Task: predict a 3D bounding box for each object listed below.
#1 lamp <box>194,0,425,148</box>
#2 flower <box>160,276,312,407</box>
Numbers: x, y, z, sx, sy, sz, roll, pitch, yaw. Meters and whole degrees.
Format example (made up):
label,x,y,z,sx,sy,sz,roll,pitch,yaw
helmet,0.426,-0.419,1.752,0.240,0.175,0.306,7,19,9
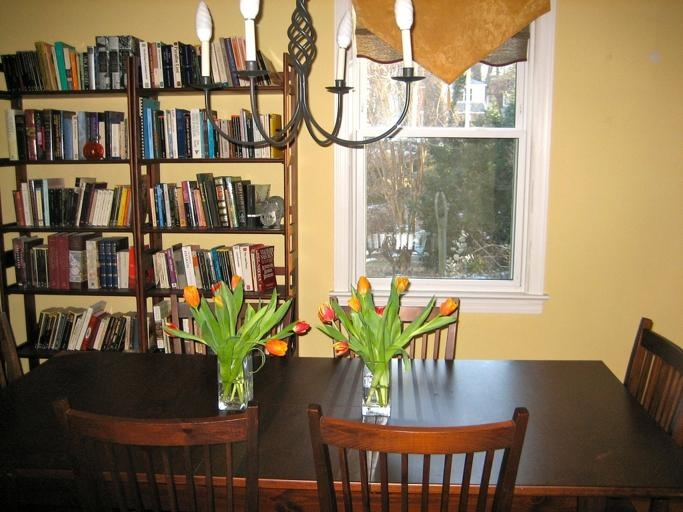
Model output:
label,x,y,z,sx,sy,sz,roll,pitch,yaw
lamp,-0.174,-1.002,3.072,0.935,1.012,0.842,4,14,20
flower,-0.377,0.290,2.285,0.547,0.523,0.538,3,4,-2
